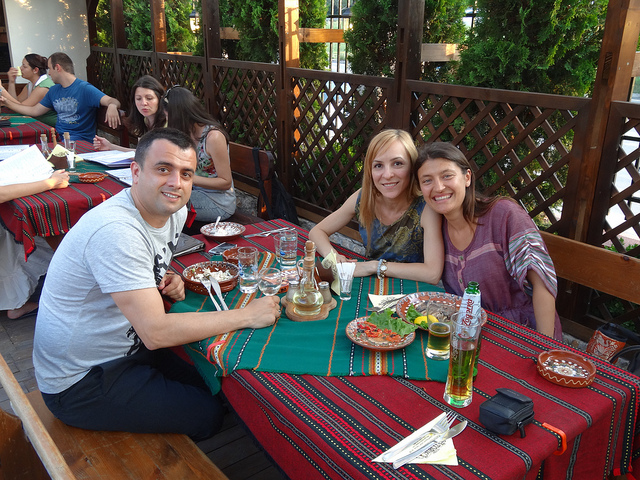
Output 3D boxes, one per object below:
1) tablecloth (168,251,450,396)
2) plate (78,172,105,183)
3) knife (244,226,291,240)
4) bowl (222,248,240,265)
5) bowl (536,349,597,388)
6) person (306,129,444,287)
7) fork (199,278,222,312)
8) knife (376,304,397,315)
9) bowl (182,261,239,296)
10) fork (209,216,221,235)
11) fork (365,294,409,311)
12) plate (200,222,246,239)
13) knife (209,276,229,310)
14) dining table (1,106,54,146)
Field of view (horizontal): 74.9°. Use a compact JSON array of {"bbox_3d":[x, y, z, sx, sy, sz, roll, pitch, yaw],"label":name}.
[{"bbox_3d":[-0.060,0.370,1.867,1.200,0.324,1.185,2,20,-4],"label":"tablecloth"},{"bbox_3d":[-1.904,-0.525,3.474,0.143,0.035,0.123,-2,19,-20],"label":"plate"},{"bbox_3d":[-0.356,-0.047,2.738,0.236,0.013,0.031,-18,56,-35],"label":"knife"},{"bbox_3d":[-0.509,0.071,2.389,0.085,0.034,0.087,1,35,-1],"label":"bowl"},{"bbox_3d":[0.926,0.444,1.639,0.212,0.121,0.164,8,16,-8],"label":"bowl"},{"bbox_3d":[0.395,-0.135,2.594,0.672,1.096,0.654,5,24,4],"label":"person"},{"bbox_3d":[-0.542,0.270,2.060,0.026,0.016,0.196,-19,46,-13],"label":"fork"},{"bbox_3d":[0.300,0.316,1.915,0.067,0.009,0.008,-31,10,12],"label":"knife"},{"bbox_3d":[-0.580,0.192,2.197,0.271,0.100,0.303,-2,14,-16],"label":"bowl"},{"bbox_3d":[-0.703,-0.100,2.794,0.034,0.179,0.029,14,2,1],"label":"fork"},{"bbox_3d":[0.317,0.298,2.000,0.134,0.017,0.020,-19,38,-26],"label":"fork"},{"bbox_3d":[-0.630,-0.064,2.754,0.156,0.031,0.166,-7,32,-23],"label":"plate"},{"bbox_3d":[-0.497,0.244,2.029,0.042,0.023,0.404,-13,35,-12],"label":"knife"},{"bbox_3d":[-3.659,-1.427,5.221,0.518,0.238,0.928,-18,50,-37],"label":"dining table"}]
